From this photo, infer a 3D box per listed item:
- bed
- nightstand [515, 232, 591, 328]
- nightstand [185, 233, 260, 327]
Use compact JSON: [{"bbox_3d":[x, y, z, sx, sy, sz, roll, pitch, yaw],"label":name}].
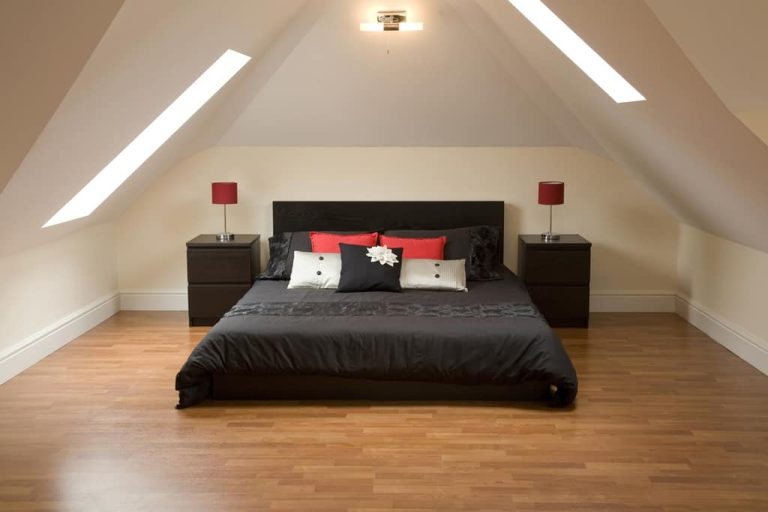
[{"bbox_3d":[0.097,0.255,5.377,2.884,1.614,2.251,2,4,6],"label":"bed"},{"bbox_3d":[1.675,0.259,6.201,0.774,0.800,0.703,1,-2,16],"label":"nightstand"},{"bbox_3d":[-1.540,0.260,6.232,0.717,0.808,0.584,-1,0,11],"label":"nightstand"}]
